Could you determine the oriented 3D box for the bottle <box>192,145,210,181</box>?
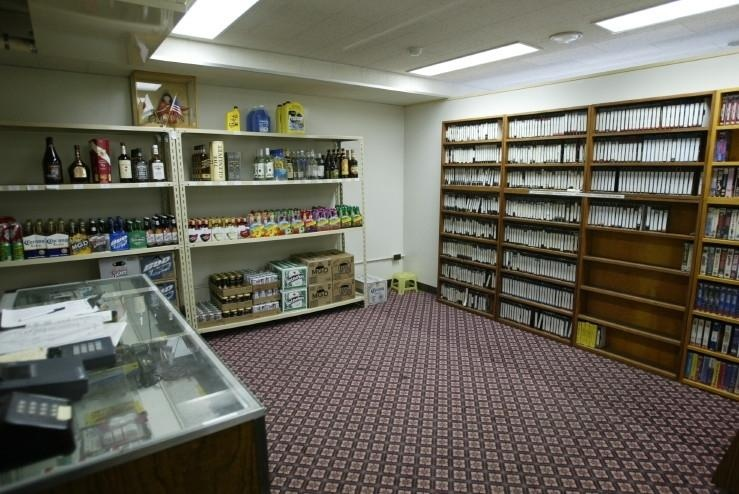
[{"bbox_3d":[-1.891,-0.946,5.315,0.104,0.387,0.449,-8,13,-34],"label":"bottle"}]

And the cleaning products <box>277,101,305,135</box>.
[{"bbox_3d":[-0.942,-1.512,5.626,0.319,0.367,0.324,-3,11,-12],"label":"cleaning products"}]

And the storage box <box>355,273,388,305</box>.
[{"bbox_3d":[0.040,0.570,6.530,0.403,0.288,0.393,-6,12,-31],"label":"storage box"}]

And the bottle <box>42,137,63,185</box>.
[{"bbox_3d":[-3.045,-0.831,4.560,0.143,0.435,0.176,-7,12,-28],"label":"bottle"}]

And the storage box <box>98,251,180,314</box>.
[{"bbox_3d":[-2.399,0.298,4.976,0.688,0.409,0.680,-2,2,-38],"label":"storage box"}]

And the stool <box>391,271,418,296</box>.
[{"bbox_3d":[0.529,0.518,7.120,0.396,0.265,0.325,-6,12,-28],"label":"stool"}]

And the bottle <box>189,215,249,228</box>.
[{"bbox_3d":[-1.696,-0.278,5.357,0.658,0.111,0.142,-7,12,-30],"label":"bottle"}]

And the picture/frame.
[{"bbox_3d":[-2.190,-1.558,5.020,0.694,0.614,0.217,0,1,-31],"label":"picture/frame"}]

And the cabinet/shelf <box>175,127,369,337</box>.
[{"bbox_3d":[-1.231,-0.164,5.659,2.624,2.345,0.627,-3,1,-34],"label":"cabinet/shelf"}]

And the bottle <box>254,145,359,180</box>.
[{"bbox_3d":[-0.765,-1.031,5.863,1.356,0.397,0.414,-10,14,-40],"label":"bottle"}]

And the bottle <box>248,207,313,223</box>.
[{"bbox_3d":[-1.080,-0.375,5.754,0.805,0.151,0.242,-9,13,-37],"label":"bottle"}]

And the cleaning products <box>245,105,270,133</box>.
[{"bbox_3d":[-1.300,-1.471,5.540,0.278,0.302,0.433,-3,11,-14],"label":"cleaning products"}]

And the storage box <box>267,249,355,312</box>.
[{"bbox_3d":[-0.905,0.391,6.279,0.758,0.630,1.216,4,6,44],"label":"storage box"}]
